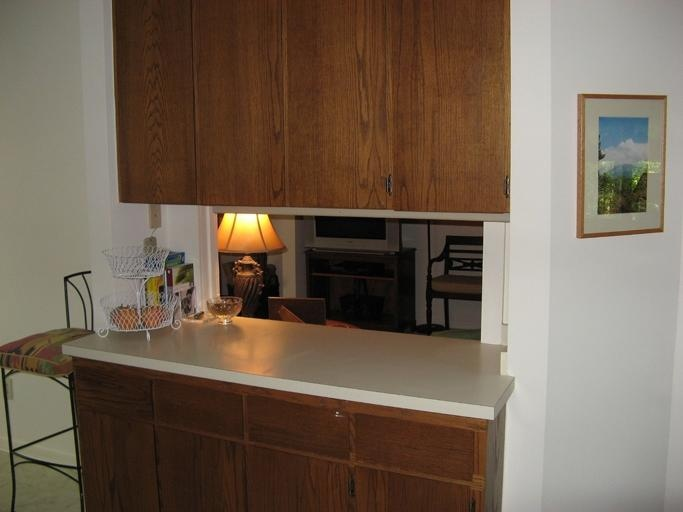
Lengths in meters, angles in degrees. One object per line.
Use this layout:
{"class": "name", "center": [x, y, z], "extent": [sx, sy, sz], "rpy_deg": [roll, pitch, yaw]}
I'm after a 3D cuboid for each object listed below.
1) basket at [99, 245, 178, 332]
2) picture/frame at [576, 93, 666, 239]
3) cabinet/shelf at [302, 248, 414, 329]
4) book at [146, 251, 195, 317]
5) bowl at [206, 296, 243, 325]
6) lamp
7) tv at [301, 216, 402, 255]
{"class": "basket", "center": [-0.960, 0.166, 2.915], "extent": [0.367, 0.409, 0.398], "rpy_deg": [0, 8, -4]}
{"class": "picture/frame", "center": [1.049, -0.365, 2.239], "extent": [0.466, 0.706, 0.042], "rpy_deg": [-2, 7, -16]}
{"class": "cabinet/shelf", "center": [0.166, 0.430, 6.710], "extent": [1.096, 1.050, 0.426], "rpy_deg": [3, 7, 26]}
{"class": "book", "center": [-0.868, 0.146, 2.933], "extent": [0.134, 0.265, 0.252], "rpy_deg": [-1, 15, 18]}
{"class": "bowl", "center": [-0.597, 0.259, 2.964], "extent": [0.129, 0.106, 0.138], "rpy_deg": [0, 4, 0]}
{"class": "lamp", "center": [-0.556, 0.090, 3.713], "extent": [0.394, 0.737, 0.872], "rpy_deg": [-1, 6, -6]}
{"class": "tv", "center": [0.094, -0.251, 6.604], "extent": [1.160, 0.367, 0.165], "rpy_deg": [2, 6, 24]}
